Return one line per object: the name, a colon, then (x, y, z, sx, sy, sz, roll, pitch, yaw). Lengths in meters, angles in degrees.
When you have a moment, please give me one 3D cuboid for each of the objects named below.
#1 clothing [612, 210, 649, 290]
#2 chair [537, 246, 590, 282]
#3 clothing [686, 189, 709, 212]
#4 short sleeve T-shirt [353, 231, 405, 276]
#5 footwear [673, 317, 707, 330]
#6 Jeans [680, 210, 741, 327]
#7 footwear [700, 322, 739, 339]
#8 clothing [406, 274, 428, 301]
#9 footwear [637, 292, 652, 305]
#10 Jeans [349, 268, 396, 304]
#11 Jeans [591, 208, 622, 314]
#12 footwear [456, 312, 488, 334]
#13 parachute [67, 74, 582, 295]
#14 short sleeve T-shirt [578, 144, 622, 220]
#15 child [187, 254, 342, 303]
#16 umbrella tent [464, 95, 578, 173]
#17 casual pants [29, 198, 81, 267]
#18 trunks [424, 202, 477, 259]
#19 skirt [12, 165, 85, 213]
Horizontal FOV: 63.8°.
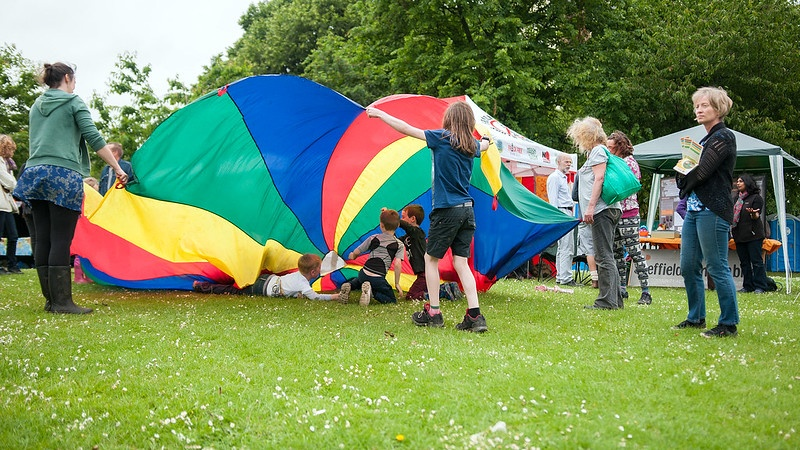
clothing: (4.417, 0.546, 12.147, 0.465, 1.450, 0.646, -1, -9, 0)
chair: (3.698, 0.912, 14.811, 0.837, 0.979, 0.854, 4, -16, -4)
clothing: (4.409, -0.330, 9.699, 0.237, 0.276, 0.319, -5, -14, -45)
short sleeve T-shirt: (-0.415, 0.582, 12.052, 0.842, 0.804, 0.457, 18, -16, 1)
footwear: (4.444, 1.526, 9.934, 0.483, 0.184, 0.173, 1, -2, 15)
Jeans: (4.685, 0.567, 9.871, 0.648, 2.012, 0.880, 7, -7, -12)
footwear: (4.754, 1.590, 9.578, 0.607, 0.212, 0.192, 1, 0, 2)
clothing: (0.325, 1.183, 12.095, 0.447, 0.453, 0.174, -1, -16, 30)
footwear: (4.487, 1.351, 11.855, 0.229, 0.229, 0.371, 0, -2, 20)
Jeans: (-0.444, 1.133, 11.732, 0.573, 0.256, 0.790, 14, -6, 24)
Jeans: (3.638, 0.565, 11.408, 0.583, 1.795, 0.619, -2, 0, 7)
footwear: (1.108, 1.522, 9.843, 0.522, 0.216, 0.214, 1, 3, 36)
parachute: (-1.762, -1.194, 13.071, 5.740, 2.275, 6.051, 30, -27, -35)
short sleeve T-shirt: (3.487, -0.703, 11.266, 0.759, 1.344, 1.202, -1, -11, -1)
child: (-2.434, 1.072, 12.309, 3.066, 0.903, 1.033, 2, 3, -4)
umbrella tent: (2.677, -1.915, 16.925, 2.501, 1.431, 2.558, 1, -3, 44)
casual pants: (-5.379, 0.194, 10.322, 0.468, 1.402, 0.329, -16, -12, 6)
trunks: (0.813, 0.072, 10.074, 0.798, 0.872, 0.556, 4, -4, -34)
skirt: (-5.600, -0.661, 10.363, 1.144, 0.649, 0.563, 8, 6, 0)
